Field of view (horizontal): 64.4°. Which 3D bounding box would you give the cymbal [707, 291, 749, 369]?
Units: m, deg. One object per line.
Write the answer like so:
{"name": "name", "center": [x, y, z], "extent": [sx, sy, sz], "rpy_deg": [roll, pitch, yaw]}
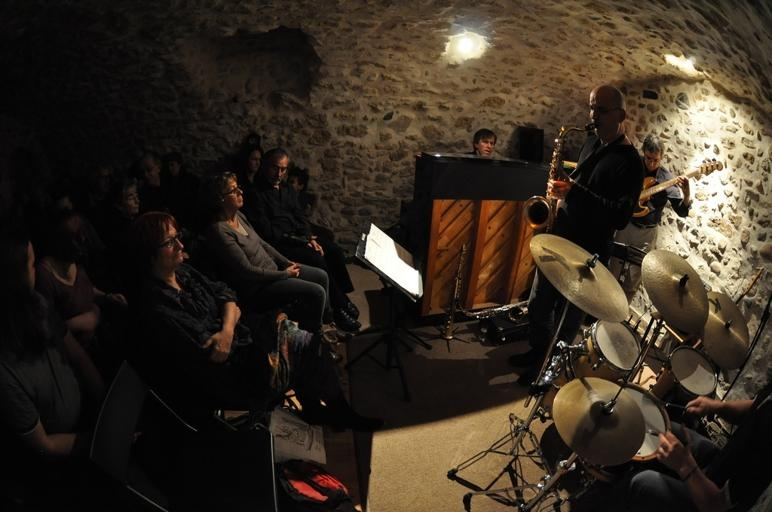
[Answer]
{"name": "cymbal", "center": [3.225, 0.703, 5.805], "extent": [0.638, 0.664, 0.163], "rpy_deg": [21, -18, -20]}

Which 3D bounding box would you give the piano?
{"name": "piano", "center": [1.149, -0.217, 7.449], "extent": [1.728, 1.729, 0.602], "rpy_deg": [-4, 20, -26]}

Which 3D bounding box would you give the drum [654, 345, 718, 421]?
{"name": "drum", "center": [2.836, 1.217, 5.773], "extent": [0.429, 0.610, 0.462], "rpy_deg": [4, 46, -5]}

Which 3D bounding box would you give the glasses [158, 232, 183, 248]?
{"name": "glasses", "center": [-1.933, -0.137, 5.501], "extent": [0.132, 0.043, 0.133], "rpy_deg": [2, 17, 17]}

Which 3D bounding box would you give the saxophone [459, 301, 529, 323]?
{"name": "saxophone", "center": [1.305, 0.659, 7.301], "extent": [0.918, 0.172, 0.183], "rpy_deg": [-4, 16, -22]}

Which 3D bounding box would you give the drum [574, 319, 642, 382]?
{"name": "drum", "center": [2.114, 0.899, 5.792], "extent": [0.484, 0.509, 0.520], "rpy_deg": [11, 11, 29]}

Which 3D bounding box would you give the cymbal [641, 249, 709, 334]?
{"name": "cymbal", "center": [2.533, 0.293, 5.407], "extent": [0.671, 0.702, 0.177], "rpy_deg": [19, -26, -8]}
